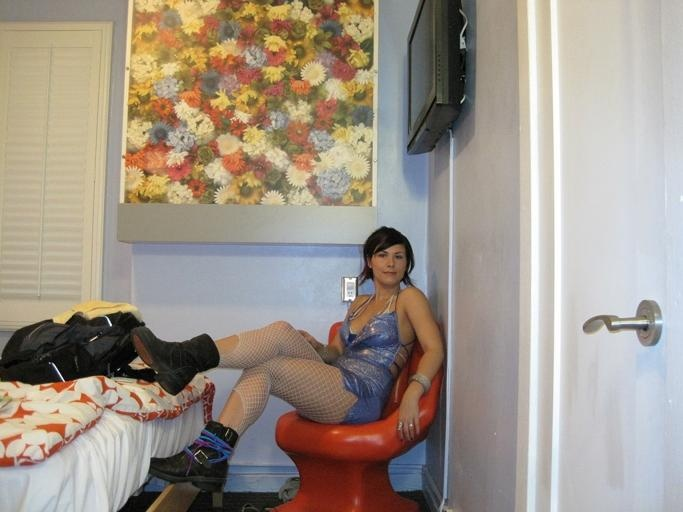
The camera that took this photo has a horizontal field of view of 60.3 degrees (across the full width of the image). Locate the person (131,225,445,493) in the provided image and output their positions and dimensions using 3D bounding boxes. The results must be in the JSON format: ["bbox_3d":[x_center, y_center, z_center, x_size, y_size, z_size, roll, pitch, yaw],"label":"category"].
[{"bbox_3d":[-0.224,0.447,2.644,1.317,1.197,0.626,2,-6,-17],"label":"person"}]

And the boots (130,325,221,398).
[{"bbox_3d":[-0.629,0.379,2.403,0.290,0.161,0.416,-12,-22,-11],"label":"boots"}]

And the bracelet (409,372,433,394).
[{"bbox_3d":[0.343,0.530,2.531,0.020,0.076,0.079,-39,-15,-32],"label":"bracelet"}]

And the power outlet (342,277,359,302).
[{"bbox_3d":[0.050,0.185,3.319,0.117,0.191,0.018,1,-2,-1],"label":"power outlet"}]
